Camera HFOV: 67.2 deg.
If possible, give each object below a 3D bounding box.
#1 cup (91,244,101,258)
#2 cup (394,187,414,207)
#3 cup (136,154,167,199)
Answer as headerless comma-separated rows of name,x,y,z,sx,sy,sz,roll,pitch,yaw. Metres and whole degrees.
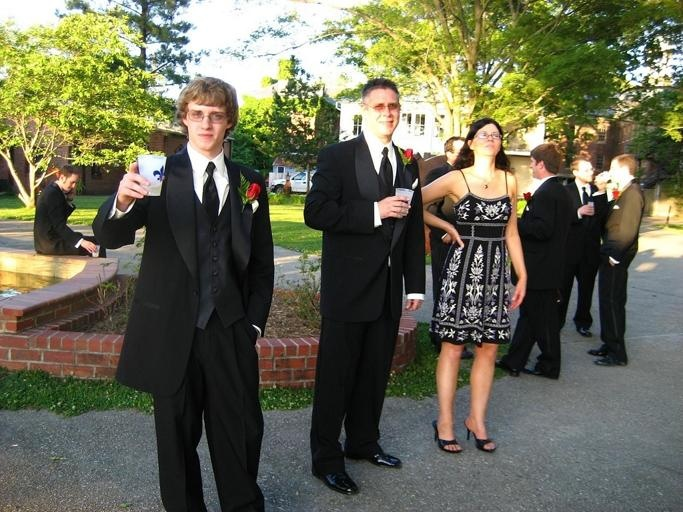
cup,-3.959,-0.078,8.320,0.116,0.214,0.514,-1,12,-23
cup,0.428,-0.410,3.534,0.111,0.107,0.149,5,11,11
cup,-0.968,-0.410,2.624,0.130,0.207,0.097,-1,12,-22
